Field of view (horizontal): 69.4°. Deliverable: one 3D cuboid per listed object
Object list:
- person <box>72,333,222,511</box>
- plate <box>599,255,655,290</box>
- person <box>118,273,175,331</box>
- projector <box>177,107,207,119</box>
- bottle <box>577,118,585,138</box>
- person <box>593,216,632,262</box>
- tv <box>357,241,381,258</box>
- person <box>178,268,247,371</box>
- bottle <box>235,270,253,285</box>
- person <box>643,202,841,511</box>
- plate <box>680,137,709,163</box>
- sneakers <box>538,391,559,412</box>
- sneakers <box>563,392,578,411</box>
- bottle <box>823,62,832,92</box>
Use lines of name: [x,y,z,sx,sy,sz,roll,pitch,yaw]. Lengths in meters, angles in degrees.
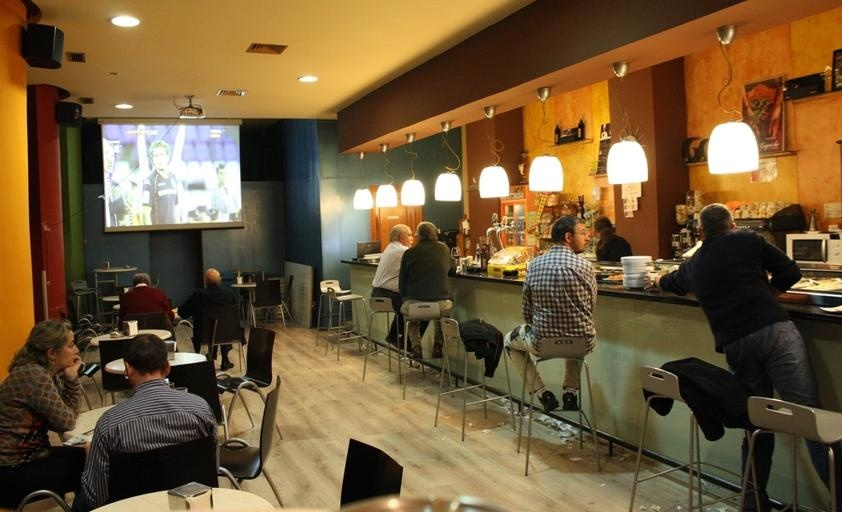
person: [-1.989,1.180,4.421,0.920,1.084,0.560,-8,13,-23]
plate: [2.058,0.182,6.178,0.397,0.150,0.514,-1,3,-16]
person: [-3.793,0.643,8.393,0.452,0.784,0.797,-12,-3,36]
projector: [-3.401,-2.120,9.085,0.327,0.128,0.232,-1,3,-2]
bottle: [2.779,-2.184,10.570,0.135,0.352,0.301,0,12,15]
person: [2.772,-0.240,8.782,0.492,0.744,0.422,-15,13,3]
tv: [-0.946,-0.115,10.628,0.400,0.259,0.275,-1,0,-30]
person: [-3.132,0.955,9.105,0.924,1.510,0.739,-5,10,-38]
bottle: [-3.675,0.482,12.866,0.378,0.170,0.489,1,3,-3]
person: [2.712,0.866,4.975,0.756,2.481,1.429,-6,12,-12]
plate: [3.906,-1.499,8.714,0.301,0.370,0.426,-1,12,11]
sneakers: [1.306,1.476,6.224,0.144,0.115,0.269,-7,12,0]
sneakers: [1.484,1.453,6.055,0.130,0.190,0.206,0,-6,2]
bottle: [5.000,-2.167,7.523,0.087,0.299,0.109,3,13,29]
